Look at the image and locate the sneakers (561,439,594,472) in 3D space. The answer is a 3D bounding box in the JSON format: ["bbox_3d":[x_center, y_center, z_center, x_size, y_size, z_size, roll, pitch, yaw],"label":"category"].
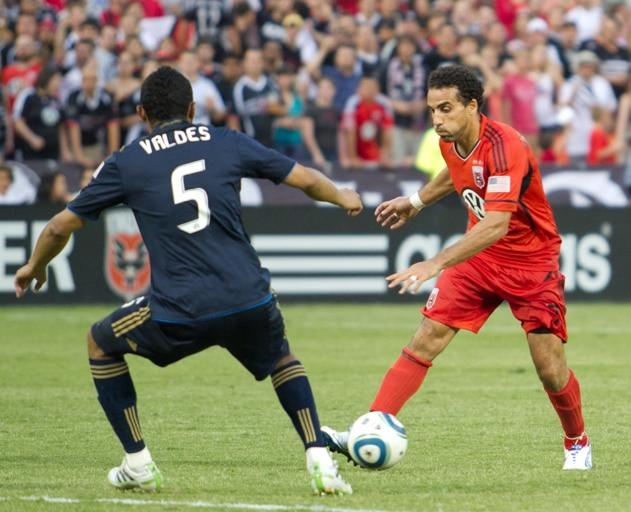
[{"bbox_3d":[1.736,1.303,7.453,0.189,0.167,0.250,2,7,13],"label":"sneakers"}]

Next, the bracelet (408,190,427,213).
[{"bbox_3d":[0.740,-0.388,8.135,0.100,0.124,0.129,-27,14,2],"label":"bracelet"}]

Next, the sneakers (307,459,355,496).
[{"bbox_3d":[0.087,1.379,6.933,0.125,0.178,0.345,-3,-7,27],"label":"sneakers"}]

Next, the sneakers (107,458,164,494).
[{"bbox_3d":[-1.094,1.351,7.009,0.351,0.173,0.150,7,3,31],"label":"sneakers"}]

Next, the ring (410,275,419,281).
[{"bbox_3d":[0.603,0.138,6.921,0.031,0.030,0.008,5,-19,12],"label":"ring"}]
